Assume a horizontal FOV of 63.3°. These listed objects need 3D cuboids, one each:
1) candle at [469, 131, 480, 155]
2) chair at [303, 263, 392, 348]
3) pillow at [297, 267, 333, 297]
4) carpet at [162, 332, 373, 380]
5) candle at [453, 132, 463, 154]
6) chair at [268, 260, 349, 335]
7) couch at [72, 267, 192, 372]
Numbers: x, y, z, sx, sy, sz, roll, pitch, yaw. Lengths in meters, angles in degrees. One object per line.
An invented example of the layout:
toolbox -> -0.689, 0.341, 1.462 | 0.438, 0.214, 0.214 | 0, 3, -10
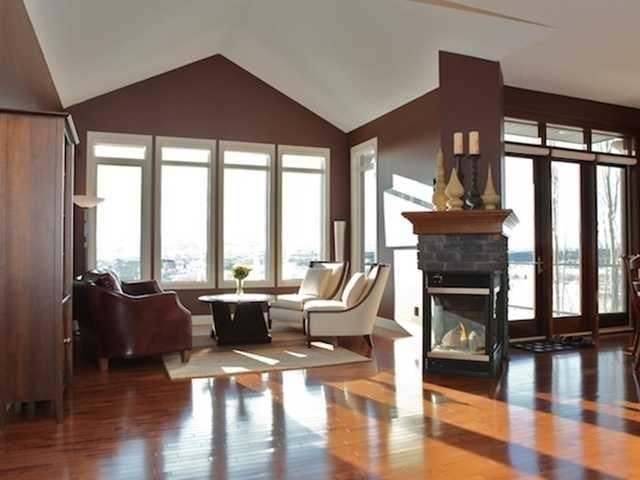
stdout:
candle -> 1.680, -1.054, 5.698 | 0.098, 0.228, 0.319 | -2, -1, 14
chair -> 0.254, 0.905, 7.172 | 1.161, 1.115, 0.857 | 2, -2, -16
pillow -> -0.146, 0.753, 8.305 | 0.612, 0.554, 0.329 | -12, -22, 33
carpet -> -0.697, 1.418, 6.183 | 2.233, 0.079, 1.232 | -1, -1, -18
candle -> 1.513, -1.056, 5.712 | 0.077, 0.206, 0.056 | -1, -1, 3
chair -> -0.217, 0.892, 8.155 | 0.844, 1.116, 1.024 | 0, -3, 44
couch -> -2.358, 0.955, 6.390 | 1.245, 1.041, 1.528 | 2, -6, -28
